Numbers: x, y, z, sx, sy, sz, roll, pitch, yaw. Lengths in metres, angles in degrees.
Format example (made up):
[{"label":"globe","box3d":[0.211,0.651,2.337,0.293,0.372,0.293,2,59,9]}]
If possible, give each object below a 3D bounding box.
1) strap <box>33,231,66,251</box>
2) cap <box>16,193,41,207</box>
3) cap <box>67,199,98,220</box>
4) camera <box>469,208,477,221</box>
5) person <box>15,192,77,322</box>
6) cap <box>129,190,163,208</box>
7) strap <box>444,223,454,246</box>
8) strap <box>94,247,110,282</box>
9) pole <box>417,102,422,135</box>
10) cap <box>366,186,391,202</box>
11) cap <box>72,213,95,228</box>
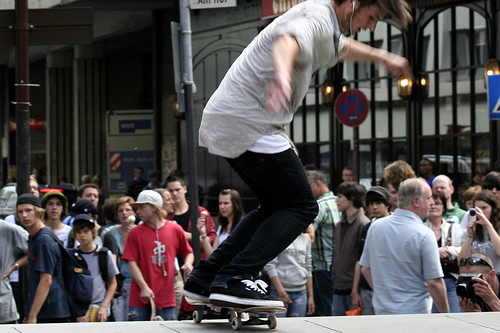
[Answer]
[{"label":"strap","box3d":[-3.780,1.374,21.287,0.597,0.387,0.134,-3,-2,-14]},{"label":"cap","box3d":[-4.226,0.620,21.547,0.439,0.275,0.262,-3,-2,-12]},{"label":"cap","box3d":[-3.368,0.847,22.795,0.467,0.234,0.337,10,0,-5]},{"label":"camera","box3d":[4.165,0.874,21.116,0.148,0.216,0.312,-4,-2,11]},{"label":"person","box3d":[-3.896,1.726,21.520,1.135,3.274,1.374,1,-24,-19]},{"label":"cap","box3d":[-1.979,0.619,22.206,0.440,0.193,0.341,5,-10,-7]},{"label":"strap","box3d":[3.823,1.311,21.658,0.094,0.298,0.223,8,-2,8]},{"label":"strap","box3d":[-2.877,1.864,21.886,0.253,0.647,0.058,-3,-2,0]},{"label":"pole","box3d":[4.352,-1.225,28.987,0.158,0.826,0.073,-3,-2,4]},{"label":"cap","box3d":[2.545,0.533,22.402,0.481,0.311,0.282,-3,-2,6]},{"label":"cap","box3d":[-3.230,1.032,21.942,0.408,0.274,0.300,-3,-2,-7]}]
